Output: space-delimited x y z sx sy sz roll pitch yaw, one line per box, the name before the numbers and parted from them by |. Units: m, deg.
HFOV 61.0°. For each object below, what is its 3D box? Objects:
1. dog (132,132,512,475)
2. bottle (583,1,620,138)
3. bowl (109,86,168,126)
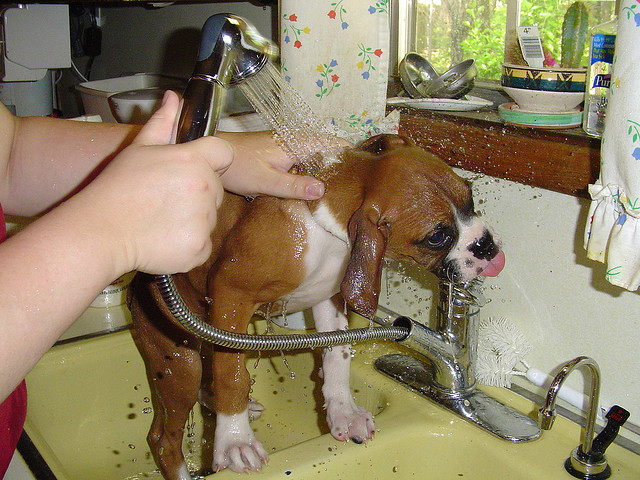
dog | -0.079 0.003 1.319 0.969 0.842 0.457 7 18 20
bottle | 0.492 -0.288 0.960 0.039 0.195 0.106 6 18 25
bowl | -0.668 -0.491 1.974 0.175 0.093 0.235 13 26 4
